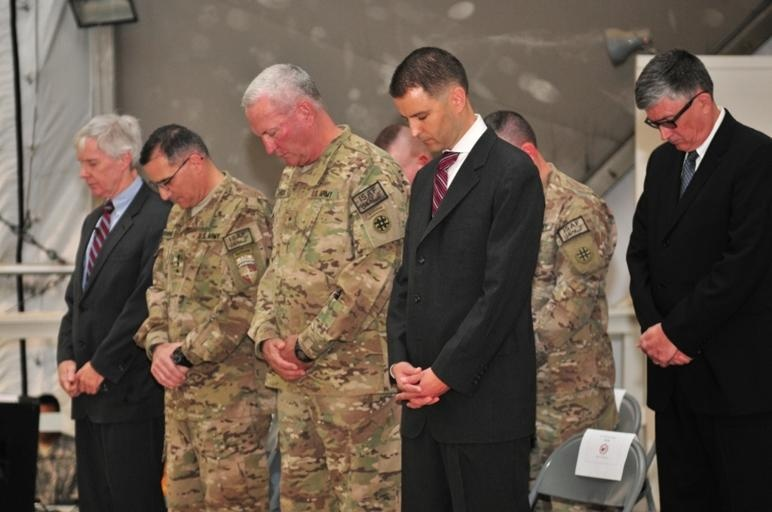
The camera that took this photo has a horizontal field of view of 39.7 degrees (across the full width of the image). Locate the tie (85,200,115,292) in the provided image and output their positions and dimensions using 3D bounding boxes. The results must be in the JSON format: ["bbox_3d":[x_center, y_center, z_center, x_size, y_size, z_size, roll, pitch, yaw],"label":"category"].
[{"bbox_3d":[-1.644,-0.033,5.966,0.170,0.585,0.085,9,-33,-17],"label":"tie"}]

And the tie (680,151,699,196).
[{"bbox_3d":[1.478,-0.417,5.218,0.046,0.284,0.045,-2,-30,41],"label":"tie"}]

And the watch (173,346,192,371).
[{"bbox_3d":[-1.050,0.539,5.583,0.111,0.098,0.093,2,31,-11],"label":"watch"}]

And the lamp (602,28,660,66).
[{"bbox_3d":[1.687,-1.455,7.350,0.286,0.229,0.251,-17,-44,22],"label":"lamp"}]

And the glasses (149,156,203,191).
[{"bbox_3d":[-1.107,-0.428,5.749,0.053,0.195,0.186,50,-12,-12],"label":"glasses"}]
